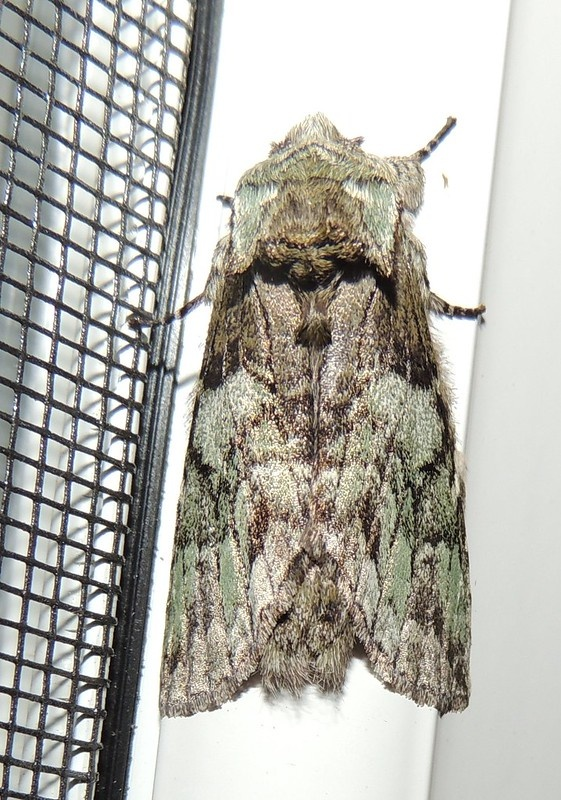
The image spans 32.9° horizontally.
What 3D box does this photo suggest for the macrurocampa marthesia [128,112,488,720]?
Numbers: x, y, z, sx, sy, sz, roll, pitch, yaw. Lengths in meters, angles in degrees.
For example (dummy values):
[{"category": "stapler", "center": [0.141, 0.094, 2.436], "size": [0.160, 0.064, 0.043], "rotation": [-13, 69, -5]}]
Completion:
[{"category": "macrurocampa marthesia", "center": [0.044, -0.010, 1.017], "size": [0.242, 0.654, 0.157], "rotation": [-2, -9, 7]}]
